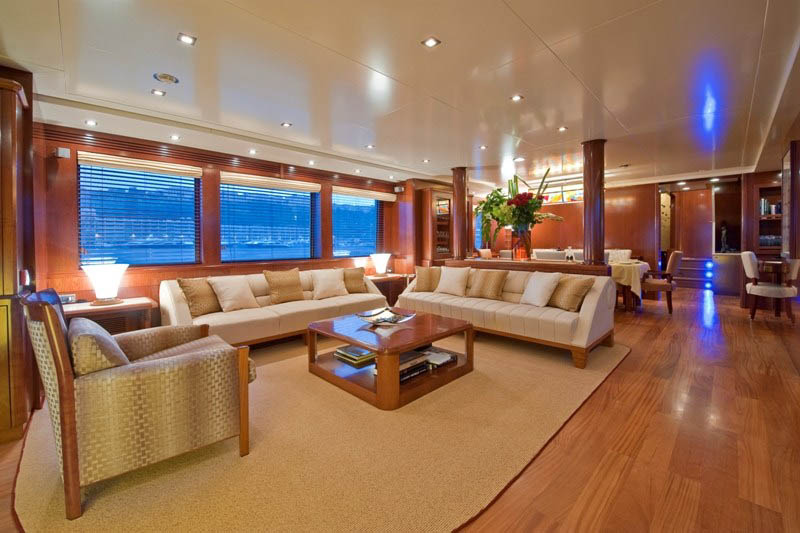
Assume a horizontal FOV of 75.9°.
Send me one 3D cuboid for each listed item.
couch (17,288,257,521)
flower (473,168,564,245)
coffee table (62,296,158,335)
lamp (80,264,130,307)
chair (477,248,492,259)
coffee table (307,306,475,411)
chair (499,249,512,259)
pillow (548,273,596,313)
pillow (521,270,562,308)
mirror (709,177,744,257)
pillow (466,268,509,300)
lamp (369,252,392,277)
[{"bbox_3d":[-2.389,1.038,4.863,1.863,1.599,1.334,-5,9,-34],"label":"couch"},{"bbox_3d":[1.539,-0.841,7.198,0.961,0.857,0.542,0,10,4],"label":"flower"},{"bbox_3d":[-3.348,0.500,5.999,0.487,0.621,0.639,5,5,42],"label":"coffee table"},{"bbox_3d":[-3.410,0.224,6.129,0.506,0.476,0.512,-2,-3,1],"label":"lamp"},{"bbox_3d":[1.722,-0.259,10.472,0.277,0.370,0.257,0,9,15],"label":"chair"},{"bbox_3d":[-0.301,0.958,5.567,1.178,0.483,1.170,-4,4,-44],"label":"coffee table"},{"bbox_3d":[1.887,-0.221,9.230,0.231,0.198,0.226,6,11,35],"label":"chair"},{"bbox_3d":[2.106,0.316,6.333,0.388,0.388,0.406,-6,11,-27],"label":"pillow"},{"bbox_3d":[1.776,0.274,6.508,0.137,0.420,0.448,27,-1,-25],"label":"pillow"},{"bbox_3d":[6.850,-1.058,10.813,0.549,1.402,0.690,6,12,31],"label":"mirror"},{"bbox_3d":[1.177,0.242,7.034,0.141,0.426,0.460,33,-21,-36],"label":"pillow"},{"bbox_3d":[-0.343,-0.027,8.960,0.393,0.318,0.370,-1,-2,-2],"label":"lamp"}]
